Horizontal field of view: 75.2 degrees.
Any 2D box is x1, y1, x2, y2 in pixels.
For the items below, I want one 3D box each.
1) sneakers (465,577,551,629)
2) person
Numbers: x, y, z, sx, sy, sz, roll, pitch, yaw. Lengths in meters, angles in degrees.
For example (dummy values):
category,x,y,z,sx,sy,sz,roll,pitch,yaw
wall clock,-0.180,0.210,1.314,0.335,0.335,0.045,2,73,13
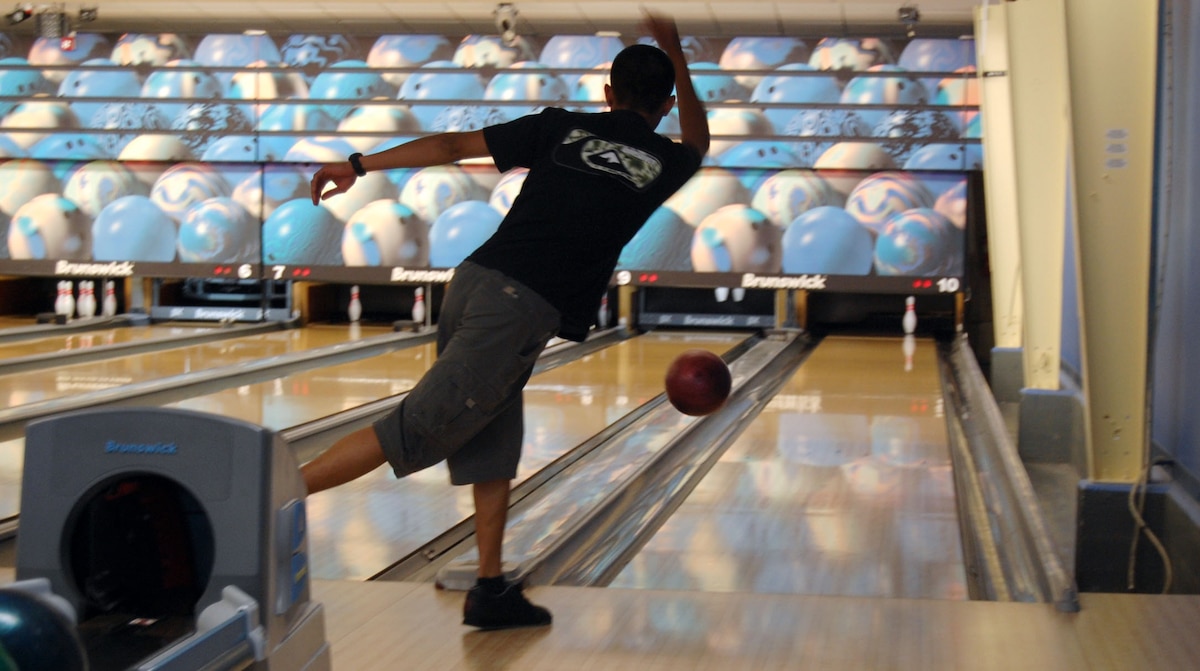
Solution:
category,x,y,z,sx,sy,sz,roll,pitch,yaw
sneakers,-0.278,0.781,2.290,0.296,0.121,0.108,1,0,-13
person,-0.232,-0.085,2.322,1.303,1.811,0.410,-4,7,-23
